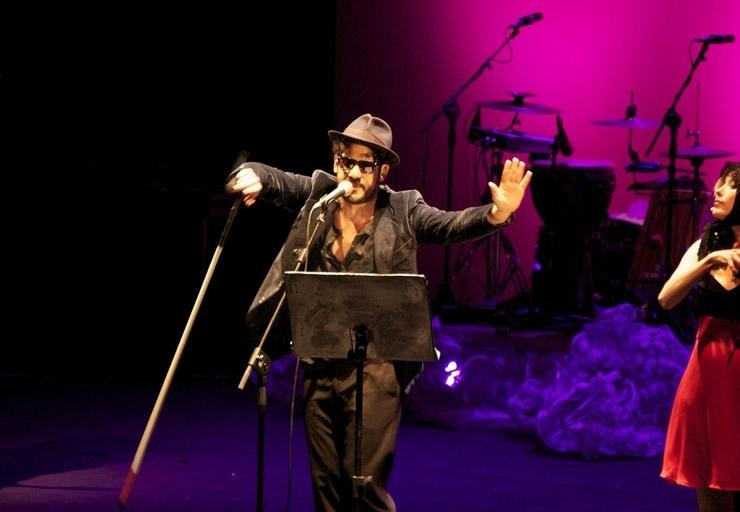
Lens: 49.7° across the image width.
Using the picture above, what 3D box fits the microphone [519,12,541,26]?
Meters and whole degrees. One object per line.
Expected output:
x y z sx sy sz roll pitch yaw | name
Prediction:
1.312 -1.932 6.512 0.235 0.073 0.088 -6 -1 26 | microphone

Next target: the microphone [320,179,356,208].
-0.228 -0.356 4.498 0.284 0.090 0.088 -32 16 -23 | microphone

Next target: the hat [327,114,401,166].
0.023 -0.660 4.738 0.296 0.139 0.345 21 -13 21 | hat

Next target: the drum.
1.670 -0.493 6.497 0.526 0.455 0.593 0 -2 0 | drum

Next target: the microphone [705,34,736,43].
2.713 -1.678 6.162 0.209 0.081 0.027 11 13 16 | microphone
